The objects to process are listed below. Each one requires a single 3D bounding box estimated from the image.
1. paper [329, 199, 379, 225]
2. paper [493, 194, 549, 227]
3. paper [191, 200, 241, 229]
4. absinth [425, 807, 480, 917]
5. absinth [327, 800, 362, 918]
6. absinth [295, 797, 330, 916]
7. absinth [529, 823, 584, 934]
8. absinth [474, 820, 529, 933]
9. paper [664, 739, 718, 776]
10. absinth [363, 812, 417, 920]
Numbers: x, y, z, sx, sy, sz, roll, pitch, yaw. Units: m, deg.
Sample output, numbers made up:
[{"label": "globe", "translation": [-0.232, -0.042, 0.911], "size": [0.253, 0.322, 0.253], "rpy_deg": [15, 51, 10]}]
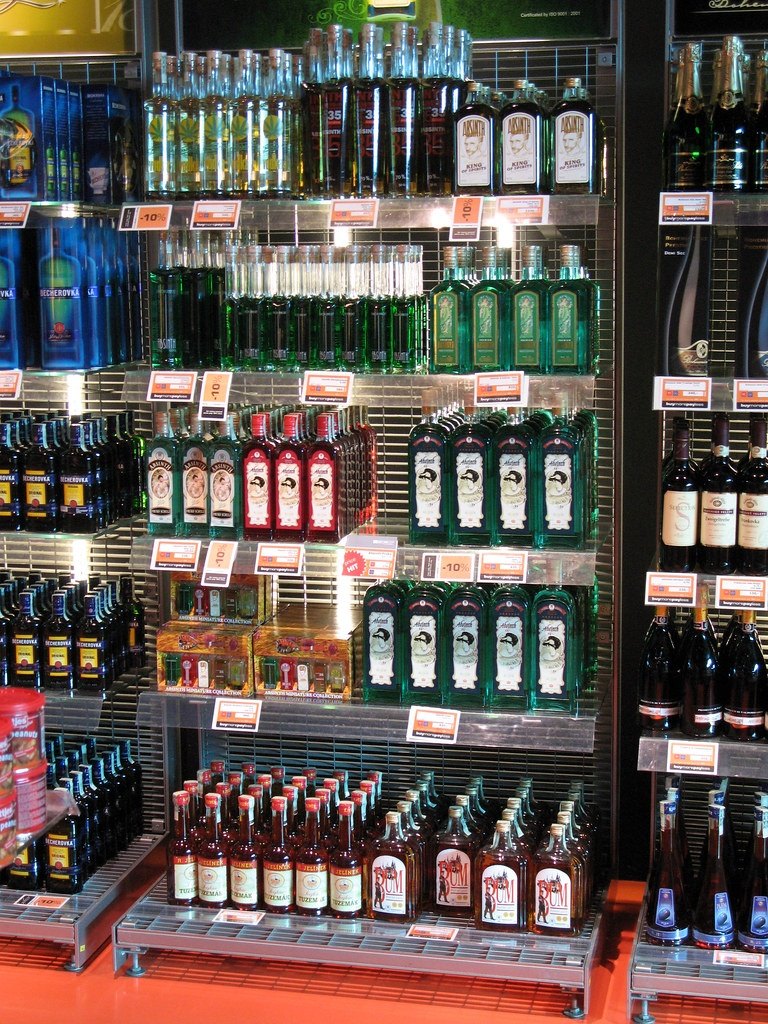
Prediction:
[{"label": "paper", "translation": [-0.075, -0.768, 3.162], "size": [0.124, 0.070, 0.125], "rpy_deg": [-1, 11, -1]}, {"label": "paper", "translation": [0.343, -0.751, 3.063], "size": [0.131, 0.070, 0.072], "rpy_deg": [1, 11, 11]}, {"label": "paper", "translation": [-0.457, -0.804, 3.345], "size": [0.133, 0.075, 0.298], "rpy_deg": [-3, 11, -10]}, {"label": "absinth", "translation": [0.201, 0.968, 3.440], "size": [0.117, 0.301, 0.104], "rpy_deg": [3, 6, 13]}, {"label": "absinth", "translation": [-0.104, 0.950, 3.377], "size": [0.083, 0.326, 0.092], "rpy_deg": [-5, 11, -20]}, {"label": "absinth", "translation": [-0.197, 0.947, 3.390], "size": [0.088, 0.334, 0.065], "rpy_deg": [-4, 10, -15]}, {"label": "absinth", "translation": [0.455, 0.972, 3.255], "size": [0.138, 0.300, 0.085], "rpy_deg": [0, 10, 4]}, {"label": "absinth", "translation": [0.316, 0.977, 3.289], "size": [0.120, 0.284, 0.102], "rpy_deg": [-6, 11, -25]}, {"label": "paper", "translation": [0.760, 0.611, 3.058], "size": [0.134, 0.097, 0.074], "rpy_deg": [1, 1, 11]}, {"label": "absinth", "translation": [0.024, 0.961, 3.363], "size": [0.139, 0.302, 0.094], "rpy_deg": [5, 12, 24]}]
